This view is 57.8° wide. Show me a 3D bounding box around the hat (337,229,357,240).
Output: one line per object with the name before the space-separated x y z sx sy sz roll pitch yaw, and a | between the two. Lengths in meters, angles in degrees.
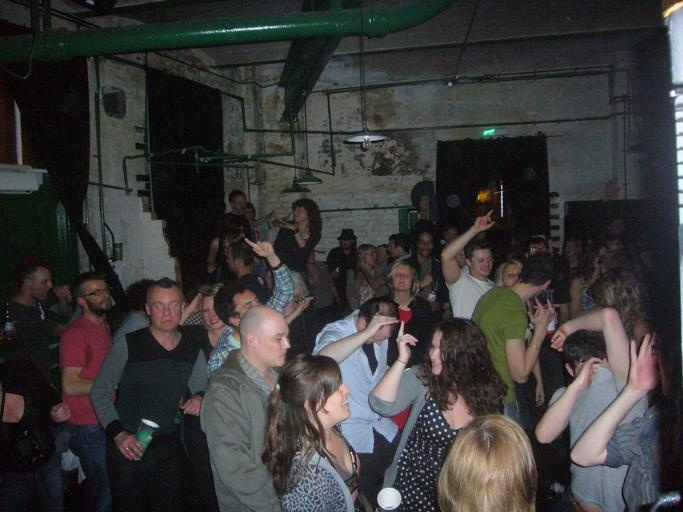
hat | 0.108 -0.380 11.066 0.265 0.136 0.355 -1 -1 1

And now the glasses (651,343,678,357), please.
glasses | 2.356 0.696 4.545 0.185 0.067 0.142 3 -14 9
